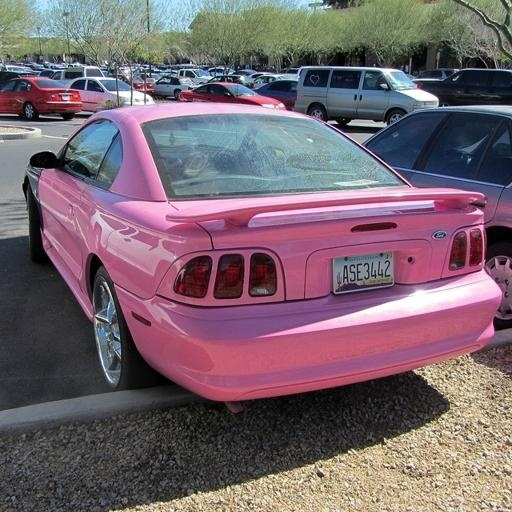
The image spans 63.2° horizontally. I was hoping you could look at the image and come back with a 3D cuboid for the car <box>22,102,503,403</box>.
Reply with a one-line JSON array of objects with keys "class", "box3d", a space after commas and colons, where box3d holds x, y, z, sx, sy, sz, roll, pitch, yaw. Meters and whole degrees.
[{"class": "car", "box3d": [-0.440, -0.175, 2.706, 1.474, 0.865, 2.893, -7, 18, -25]}]
